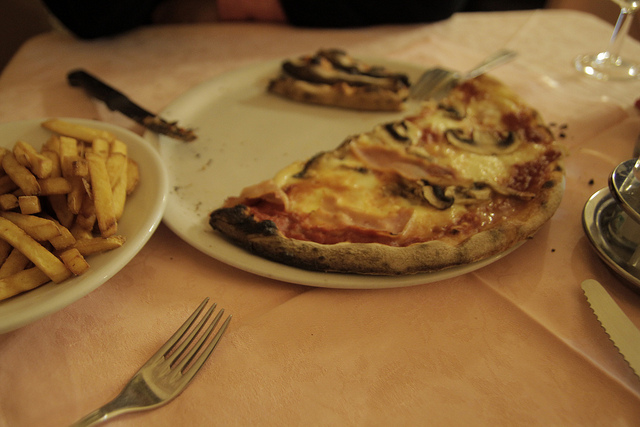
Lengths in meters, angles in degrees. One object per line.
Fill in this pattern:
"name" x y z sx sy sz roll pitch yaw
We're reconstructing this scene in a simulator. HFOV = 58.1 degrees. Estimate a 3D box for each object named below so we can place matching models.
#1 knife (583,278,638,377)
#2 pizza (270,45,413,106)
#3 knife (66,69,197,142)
"knife" 0.531 0.193 1.049 0.038 0.009 0.220 -18 39 6
"pizza" 0.058 -0.318 1.362 0.272 0.067 0.166 13 52 12
"knife" -0.448 -0.247 1.353 0.059 0.018 0.352 -40 52 -17
